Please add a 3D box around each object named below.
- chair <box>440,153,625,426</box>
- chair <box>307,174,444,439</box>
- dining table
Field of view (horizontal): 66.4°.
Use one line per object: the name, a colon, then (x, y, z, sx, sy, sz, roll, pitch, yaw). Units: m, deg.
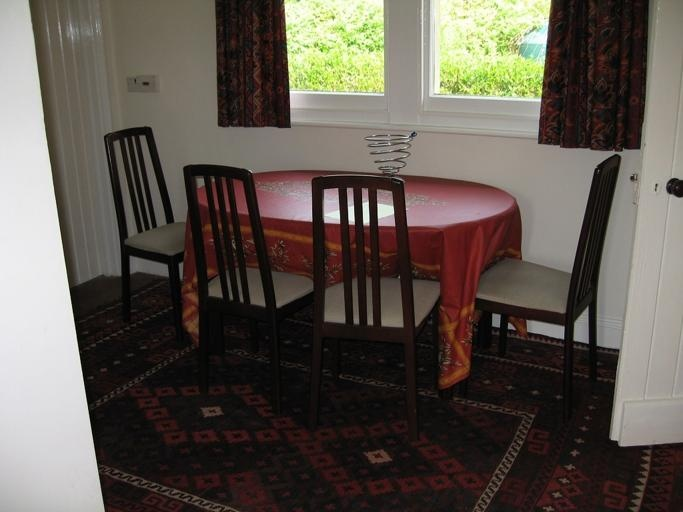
chair: (0.930, 0.127, 2.516, 0.591, 1.087, 0.698, -15, 16, -40)
chair: (0.149, 0.161, 2.302, 0.557, 1.115, 0.507, 2, 20, 10)
dining table: (0.411, -0.002, 2.957, 1.042, 0.681, 1.474, 14, 14, 21)
